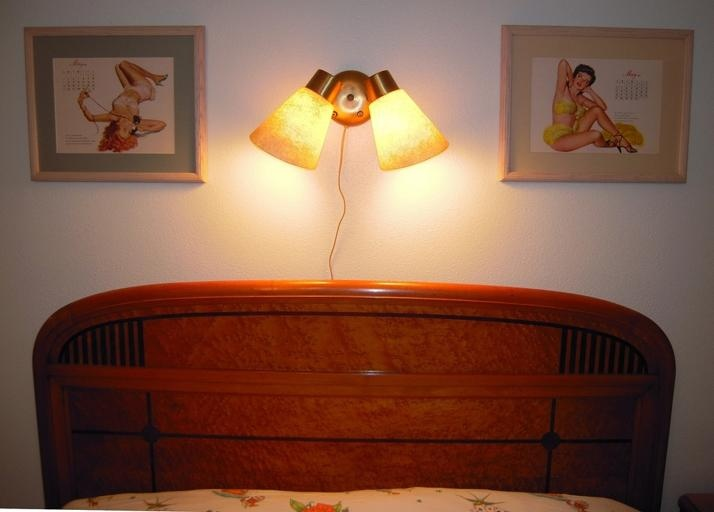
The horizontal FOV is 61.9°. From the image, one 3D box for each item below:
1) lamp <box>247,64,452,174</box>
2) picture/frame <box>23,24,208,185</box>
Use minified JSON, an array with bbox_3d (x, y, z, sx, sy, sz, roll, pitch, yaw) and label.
[{"bbox_3d":[-0.021,-0.438,1.918,0.619,0.323,0.135,4,8,1],"label":"lamp"},{"bbox_3d":[-0.799,-0.522,1.958,0.479,0.426,0.021,0,8,3],"label":"picture/frame"}]
